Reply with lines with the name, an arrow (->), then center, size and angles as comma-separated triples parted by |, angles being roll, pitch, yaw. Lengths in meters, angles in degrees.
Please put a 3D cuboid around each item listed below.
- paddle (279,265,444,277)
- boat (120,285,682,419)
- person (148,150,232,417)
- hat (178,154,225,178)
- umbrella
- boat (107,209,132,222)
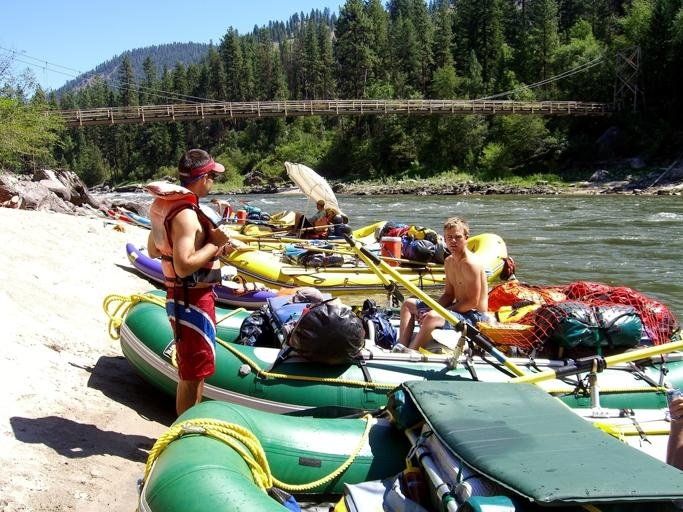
paddle -> 0.090, 0.220, 9.369 | 1.491, 0.161, 0.654 | 2, 1, 1
boat -> 0.179, 1.023, 5.606 | 3.384, 0.465, 1.630 | 2, 1, -1
person -> -1.123, 0.260, 4.878 | 0.587, 2.092, 0.737 | -2, 13, -14
hat -> -1.056, -0.702, 4.966 | 0.304, 0.126, 0.206 | -10, 20, -27
umbrella -> -0.499, -0.946, 11.260 | 0.907, 1.309, 0.798 | 3, 12, 9
boat -> -5.445, -0.984, 16.050 | 0.958, 0.200, 0.238 | 17, 57, 42
